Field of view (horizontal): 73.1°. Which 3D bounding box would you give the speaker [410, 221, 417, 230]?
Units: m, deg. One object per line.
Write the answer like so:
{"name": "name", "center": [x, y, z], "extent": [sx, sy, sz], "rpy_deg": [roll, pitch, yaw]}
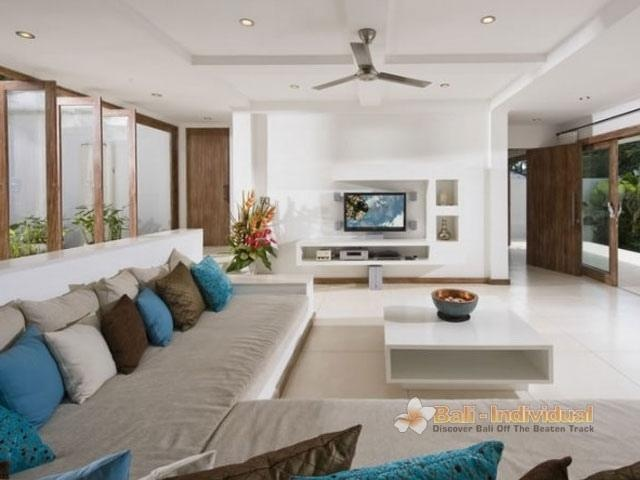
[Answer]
{"name": "speaker", "center": [1.463, -0.228, 6.733], "extent": [0.153, 0.146, 0.111], "rpy_deg": [3, 8, 16]}

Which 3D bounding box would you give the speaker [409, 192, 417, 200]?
{"name": "speaker", "center": [1.454, -0.675, 6.688], "extent": [0.142, 0.135, 0.104], "rpy_deg": [2, 8, 13]}

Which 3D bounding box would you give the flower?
{"name": "flower", "center": [-0.939, -0.073, 6.365], "extent": [0.747, 1.093, 0.745], "rpy_deg": [5, 3, -25]}

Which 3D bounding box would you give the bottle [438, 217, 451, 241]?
{"name": "bottle", "center": [1.985, -0.175, 6.831], "extent": [0.210, 0.343, 0.218], "rpy_deg": [-1, 8, 0]}

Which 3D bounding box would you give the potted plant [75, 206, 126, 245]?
{"name": "potted plant", "center": [-2.972, -0.230, 5.868], "extent": [0.549, 0.413, 0.611], "rpy_deg": [1, 3, 12]}

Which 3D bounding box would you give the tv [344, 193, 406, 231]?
{"name": "tv", "center": [0.862, -0.433, 6.710], "extent": [1.042, 0.621, 0.028], "rpy_deg": [2, 6, 30]}

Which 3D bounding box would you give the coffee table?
{"name": "coffee table", "center": [1.087, 0.845, 3.436], "extent": [1.164, 0.332, 0.857], "rpy_deg": [-1, 7, 4]}

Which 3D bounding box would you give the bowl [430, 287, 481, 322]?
{"name": "bowl", "center": [1.132, 0.574, 3.644], "extent": [0.385, 0.175, 0.377], "rpy_deg": [4, -3, 0]}

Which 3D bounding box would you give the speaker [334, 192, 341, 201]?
{"name": "speaker", "center": [0.292, -0.678, 6.728], "extent": [0.150, 0.141, 0.109], "rpy_deg": [2, 7, 4]}

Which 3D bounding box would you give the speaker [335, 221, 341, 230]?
{"name": "speaker", "center": [0.300, -0.230, 6.784], "extent": [0.110, 0.195, 0.107], "rpy_deg": [2, 1, 4]}
